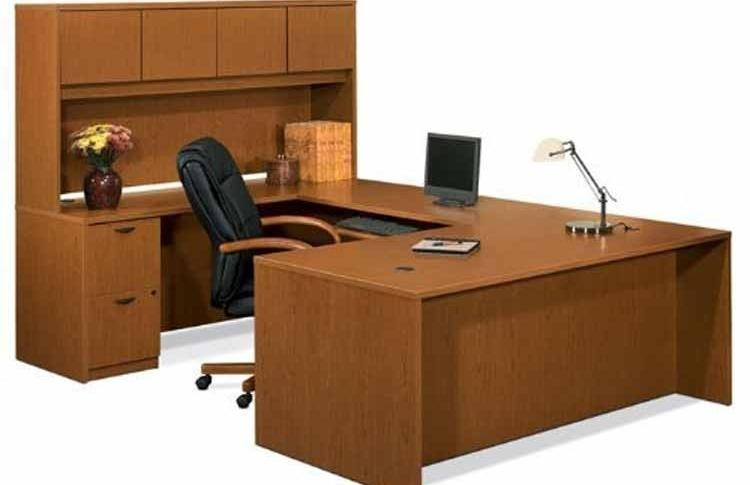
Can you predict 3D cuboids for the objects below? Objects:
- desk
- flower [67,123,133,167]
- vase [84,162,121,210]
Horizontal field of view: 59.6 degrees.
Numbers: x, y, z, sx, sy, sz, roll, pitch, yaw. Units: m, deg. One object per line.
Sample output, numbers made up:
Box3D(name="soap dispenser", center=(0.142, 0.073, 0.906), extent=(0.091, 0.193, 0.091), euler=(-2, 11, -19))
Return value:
Box3D(name="desk", center=(0.518, 0.572, 3.680), extent=(1.951, 0.804, 1.948), euler=(-7, 10, -42))
Box3D(name="flower", center=(-2.121, -0.756, 4.984), extent=(0.409, 0.240, 0.407), euler=(5, 20, 25))
Box3D(name="vase", center=(-2.000, -0.410, 4.892), extent=(0.315, 0.373, 0.307), euler=(2, 6, 7))
